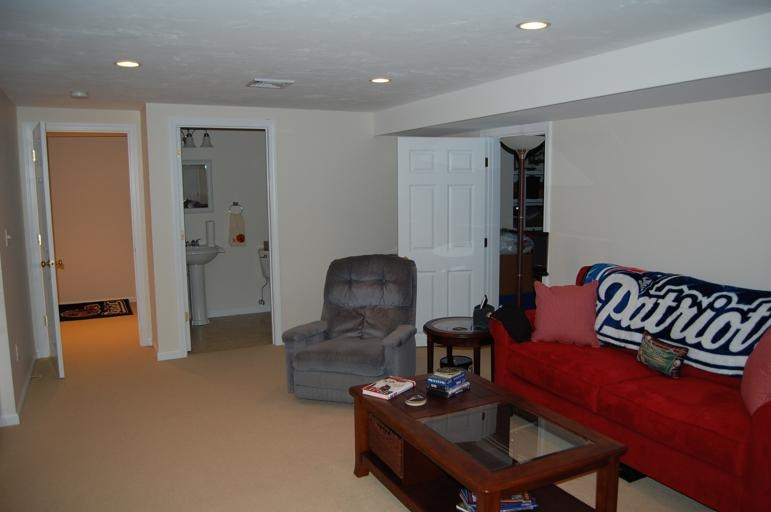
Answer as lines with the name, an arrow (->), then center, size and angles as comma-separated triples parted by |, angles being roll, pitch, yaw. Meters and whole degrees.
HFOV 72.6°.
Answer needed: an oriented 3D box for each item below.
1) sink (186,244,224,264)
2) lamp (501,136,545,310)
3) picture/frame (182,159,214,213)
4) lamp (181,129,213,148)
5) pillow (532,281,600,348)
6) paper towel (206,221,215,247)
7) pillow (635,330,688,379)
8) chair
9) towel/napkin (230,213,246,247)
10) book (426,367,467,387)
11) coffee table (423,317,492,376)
sink -> -2.475, 0.001, 7.242 | 0.481, 0.222, 0.307 | -5, 14, -17
lamp -> 1.665, -0.293, 6.412 | 0.543, 2.210, 0.529 | -6, 16, -22
picture/frame -> -2.730, -0.973, 7.500 | 0.601, 0.738, 0.055 | 1, 6, 16
lamp -> -2.650, -1.644, 7.417 | 0.405, 0.252, 0.133 | -5, 14, -18
pillow -> 1.594, 0.520, 4.662 | 0.576, 0.537, 0.260 | 3, -6, 16
paper towel -> -2.533, -0.336, 7.625 | 0.101, 0.342, 0.152 | 3, 14, 17
pillow -> 2.147, 0.769, 4.069 | 0.116, 0.231, 0.321 | 10, 6, -29
chair -> -0.276, 0.677, 5.185 | 1.245, 1.217, 1.285 | 3, 7, 28
towel/napkin -> -2.147, -0.368, 7.662 | 0.221, 0.477, 0.312 | -5, 14, -15
book -> 0.473, 0.897, 3.942 | 0.139, 0.060, 0.192 | 1, 2, 41
coffee table -> 0.668, 0.830, 5.103 | 0.608, 0.586, 0.580 | 0, 5, -2
